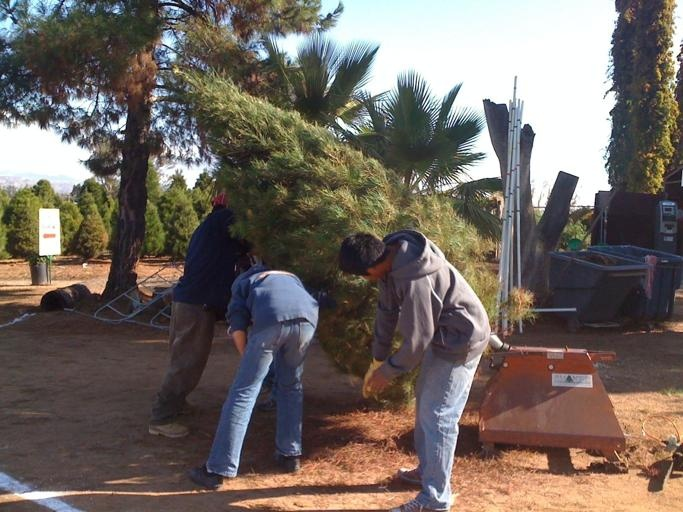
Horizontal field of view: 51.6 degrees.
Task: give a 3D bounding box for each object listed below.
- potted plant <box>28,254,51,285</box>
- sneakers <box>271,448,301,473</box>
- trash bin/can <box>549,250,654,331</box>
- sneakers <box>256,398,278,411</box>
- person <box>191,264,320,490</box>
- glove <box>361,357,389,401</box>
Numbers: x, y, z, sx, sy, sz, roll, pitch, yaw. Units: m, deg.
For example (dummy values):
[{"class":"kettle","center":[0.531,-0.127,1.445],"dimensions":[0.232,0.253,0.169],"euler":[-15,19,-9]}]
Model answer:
[{"class":"potted plant","center":[-8.248,0.391,19.365],"dimensions":[0.795,0.886,0.737],"euler":[-1,3,-32]},{"class":"sneakers","center":[-0.587,2.112,7.322],"dimensions":[0.319,0.171,0.128],"euler":[13,2,34]},{"class":"trash bin/can","center":[4.289,0.649,12.056],"dimensions":[1.151,1.074,1.502],"euler":[11,-7,-25]},{"class":"sneakers","center":[-0.860,1.782,8.591],"dimensions":[0.322,0.167,0.179],"euler":[10,-11,-6]},{"class":"person","center":[-0.817,1.192,7.094],"dimensions":[1.223,2.026,0.486],"euler":[-7,14,-28]},{"class":"glove","center":[0.307,1.181,6.744],"dimensions":[0.092,0.351,0.242],"euler":[15,12,0]}]
